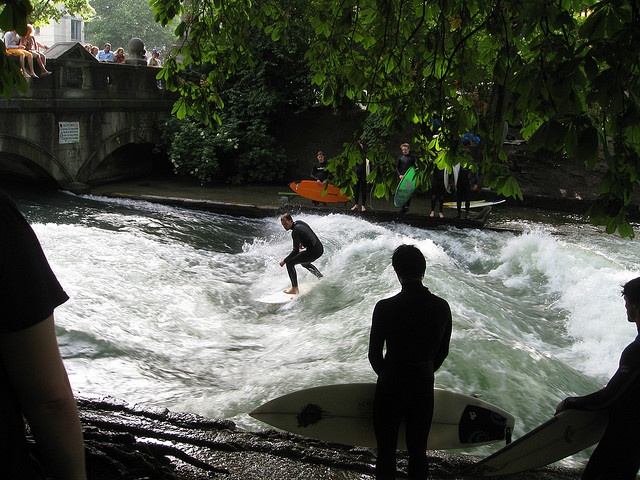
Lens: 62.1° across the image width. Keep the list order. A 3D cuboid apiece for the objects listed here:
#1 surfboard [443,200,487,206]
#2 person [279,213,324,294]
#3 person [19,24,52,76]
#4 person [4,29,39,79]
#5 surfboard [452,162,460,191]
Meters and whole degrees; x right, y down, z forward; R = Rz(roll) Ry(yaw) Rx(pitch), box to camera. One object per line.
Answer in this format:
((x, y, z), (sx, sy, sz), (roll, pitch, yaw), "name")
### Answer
((4.569, -1.200, 16.876), (1.236, 0.218, 0.319), (-2, 8, -25), "surfboard")
((-0.363, 0.240, 11.129), (0.861, 1.703, 1.415), (5, 10, 2), "person")
((-7.889, -5.189, 14.485), (0.925, 1.158, 0.479), (23, 12, 19), "person")
((-8.379, -5.252, 14.899), (0.762, 1.194, 1.589), (-1, 11, -29), "person")
((3.904, -1.823, 15.229), (0.172, 0.751, 0.601), (7, 10, 17), "surfboard")
